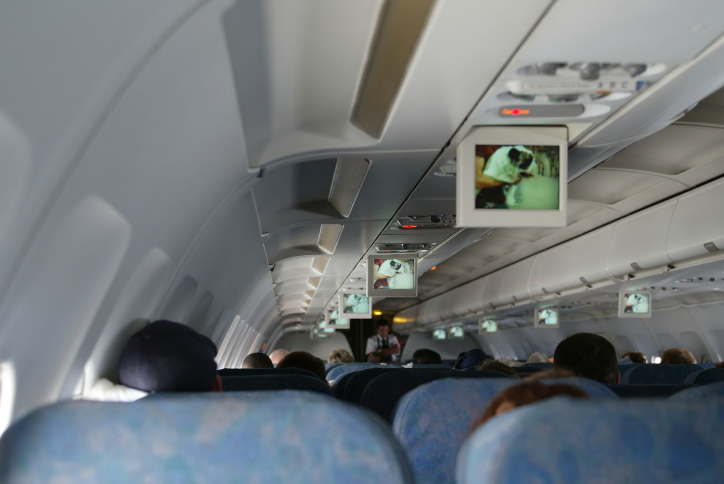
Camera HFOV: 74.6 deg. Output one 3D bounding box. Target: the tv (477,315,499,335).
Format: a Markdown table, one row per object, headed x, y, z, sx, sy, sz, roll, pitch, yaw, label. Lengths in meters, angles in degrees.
| x | y | z | sx | sy | sz | roll | pitch | yaw | label |
| --- | --- | --- | --- | --- | --- | --- | --- | --- | --- |
| 5.364 | 3.544 | 20.387 | 0.943 | 1.072 | 1.202 | -1 | -3 | 8 | tv |

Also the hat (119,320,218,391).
| x | y | z | sx | sy | sz | roll | pitch | yaw | label |
| --- | --- | --- | --- | --- | --- | --- | --- | --- | --- |
| -1.237 | 0.762 | 3.043 | 0.474 | 0.489 | 0.576 | 4 | 2 | -21 | hat |

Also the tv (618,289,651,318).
| x | y | z | sx | sy | sz | roll | pitch | yaw | label |
| --- | --- | --- | --- | --- | --- | --- | --- | --- | --- |
| 6.835 | 1.533 | 11.953 | 0.959 | 0.772 | 0.475 | 0 | -1 | -6 | tv |
